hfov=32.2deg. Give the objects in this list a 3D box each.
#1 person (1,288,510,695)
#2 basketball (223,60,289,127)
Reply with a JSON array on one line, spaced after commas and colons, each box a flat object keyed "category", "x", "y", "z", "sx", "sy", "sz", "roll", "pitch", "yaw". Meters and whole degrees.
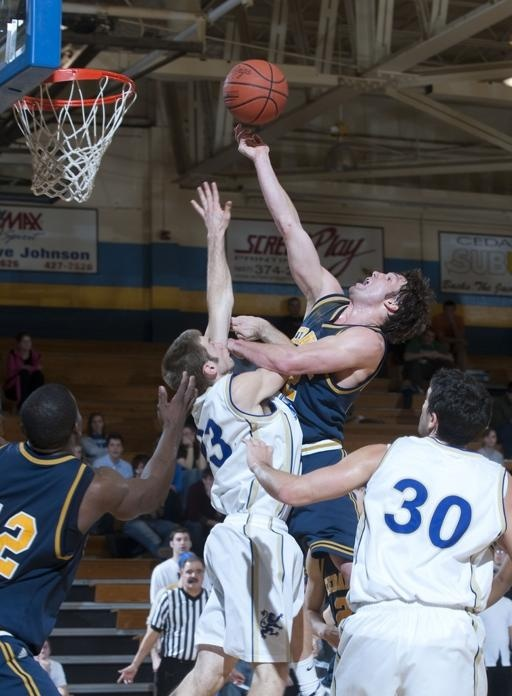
[{"category": "person", "x": -0.095, "y": 0.746, "z": 4.579, "sx": 1.237, "sy": 1.282, "sz": 3.486, "roll": 15, "pitch": -1, "yaw": -27}, {"category": "basketball", "x": 0.029, "y": -1.319, "z": 4.666, "sx": 0.309, "sy": 0.327, "sz": 0.297, "roll": 14, "pitch": 1, "yaw": 15}]
